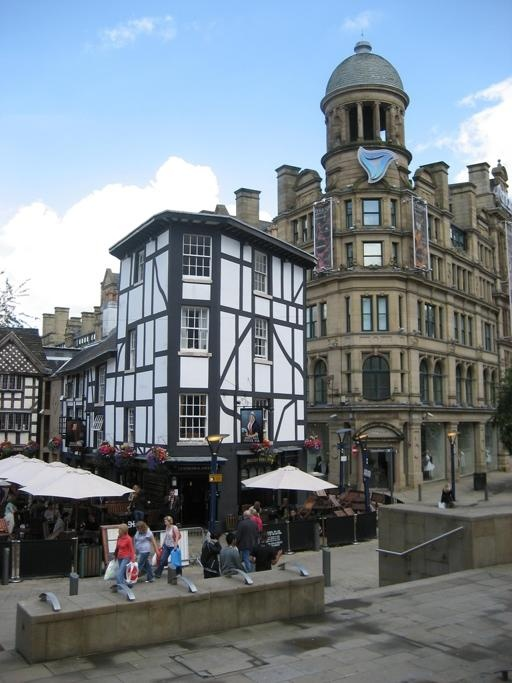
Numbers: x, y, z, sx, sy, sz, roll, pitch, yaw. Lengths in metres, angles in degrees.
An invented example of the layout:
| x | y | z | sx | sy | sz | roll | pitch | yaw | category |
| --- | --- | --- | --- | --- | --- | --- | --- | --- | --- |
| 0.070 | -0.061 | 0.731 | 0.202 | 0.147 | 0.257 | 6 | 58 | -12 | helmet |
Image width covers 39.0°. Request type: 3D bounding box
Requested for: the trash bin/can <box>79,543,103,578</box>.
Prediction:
| x | y | z | sx | sy | sz | roll | pitch | yaw | category |
| --- | --- | --- | --- | --- | --- | --- | --- | --- | --- |
| -3.620 | 4.811 | 15.884 | 0.650 | 0.773 | 0.687 | 0 | -5 | -6 | trash bin/can |

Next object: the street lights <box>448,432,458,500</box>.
| x | y | z | sx | sy | sz | roll | pitch | yaw | category |
| --- | --- | --- | --- | --- | --- | --- | --- | --- | --- |
| 9.285 | 5.556 | 33.911 | 0.531 | 2.148 | 0.471 | -3 | -11 | 20 | street lights |

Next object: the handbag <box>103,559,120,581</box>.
| x | y | z | sx | sy | sz | roll | pitch | yaw | category |
| --- | --- | --- | --- | --- | --- | --- | --- | --- | --- |
| -2.651 | 4.210 | 13.336 | 0.227 | 0.365 | 0.450 | 5 | -2 | -8 | handbag |

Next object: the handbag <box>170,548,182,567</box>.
| x | y | z | sx | sy | sz | roll | pitch | yaw | category |
| --- | --- | --- | --- | --- | --- | --- | --- | --- | --- |
| -1.626 | 4.442 | 14.760 | 0.181 | 0.316 | 0.682 | 5 | -2 | -8 | handbag |
